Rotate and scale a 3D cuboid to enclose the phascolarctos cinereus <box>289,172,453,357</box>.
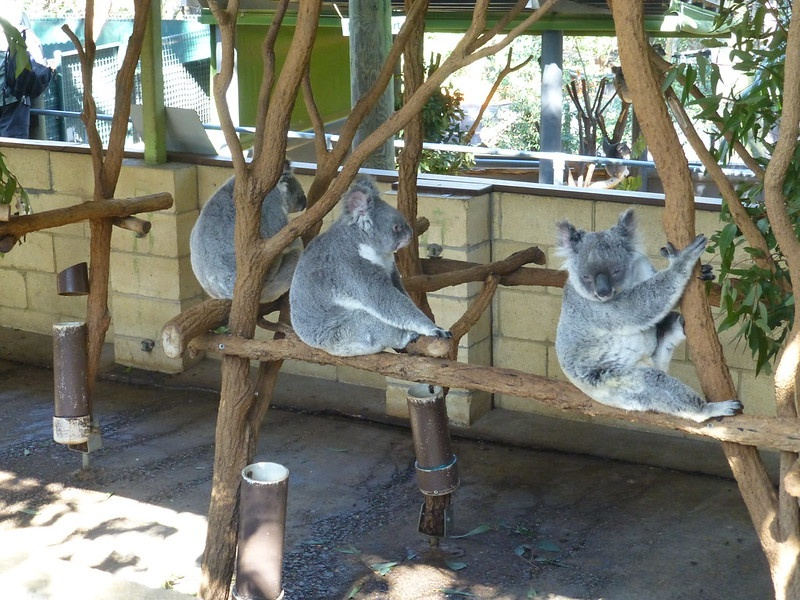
[{"bbox_3d":[-0.058,-0.152,3.793,0.993,0.845,0.562,2,12,38],"label":"phascolarctos cinereus"}]

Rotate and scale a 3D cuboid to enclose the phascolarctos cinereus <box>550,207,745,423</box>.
[{"bbox_3d":[0.953,0.048,3.054,0.754,0.786,0.381,4,14,20],"label":"phascolarctos cinereus"}]
